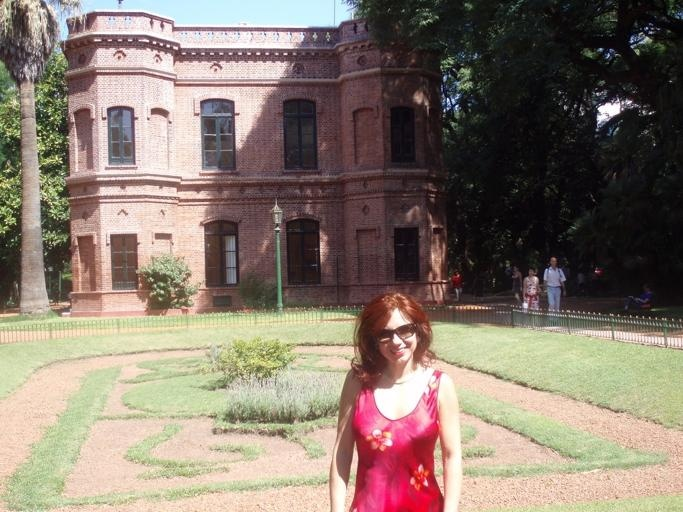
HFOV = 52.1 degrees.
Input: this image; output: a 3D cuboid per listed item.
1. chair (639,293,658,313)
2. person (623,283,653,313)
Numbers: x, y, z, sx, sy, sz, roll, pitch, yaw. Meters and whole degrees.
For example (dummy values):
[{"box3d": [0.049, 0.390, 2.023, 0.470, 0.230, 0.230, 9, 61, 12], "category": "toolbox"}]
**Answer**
[{"box3d": [10.431, 1.589, 24.009, 0.484, 0.625, 1.954, -1, -2, 23], "category": "chair"}, {"box3d": [11.395, 1.631, 27.045, 0.812, 1.012, 0.635, 10, 10, 23], "category": "person"}]
